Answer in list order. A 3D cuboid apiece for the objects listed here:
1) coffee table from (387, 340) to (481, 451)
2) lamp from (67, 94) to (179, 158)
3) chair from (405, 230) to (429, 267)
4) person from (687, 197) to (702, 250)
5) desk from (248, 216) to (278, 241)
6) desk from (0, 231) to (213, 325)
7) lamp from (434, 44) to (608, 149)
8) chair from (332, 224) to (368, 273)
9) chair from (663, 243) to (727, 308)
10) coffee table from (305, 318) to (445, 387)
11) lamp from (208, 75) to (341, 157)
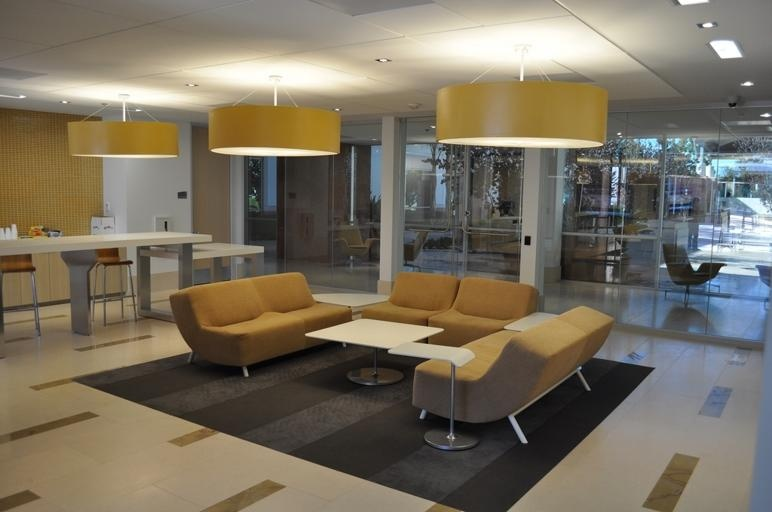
[{"bbox_3d":[0.327,1.286,5.009,1.039,0.933,0.675,3,3,24],"label":"coffee table"},{"bbox_3d":[-3.951,-1.732,7.928,1.294,0.732,1.276,0,1,-33],"label":"lamp"},{"bbox_3d":[0.559,-0.156,10.163,0.668,0.738,0.560,2,6,16],"label":"chair"},{"bbox_3d":[4.694,-0.476,7.966,0.195,0.827,0.105,7,15,23],"label":"person"},{"bbox_3d":[-2.829,-0.649,12.009,1.003,0.624,0.541,4,7,36],"label":"desk"},{"bbox_3d":[-4.154,0.352,7.791,1.173,1.493,2.597,13,17,40],"label":"desk"},{"bbox_3d":[1.249,-1.299,4.826,1.039,0.596,1.027,3,4,34],"label":"lamp"},{"bbox_3d":[-0.687,-0.183,11.062,0.908,0.888,0.842,-1,2,-26],"label":"chair"},{"bbox_3d":[4.648,0.278,8.056,0.942,0.994,0.867,0,3,21],"label":"chair"},{"bbox_3d":[-0.165,1.026,6.132,1.009,0.417,0.993,6,9,31],"label":"coffee table"},{"bbox_3d":[-1.323,-1.533,6.182,1.055,0.598,1.022,3,5,20],"label":"lamp"}]
